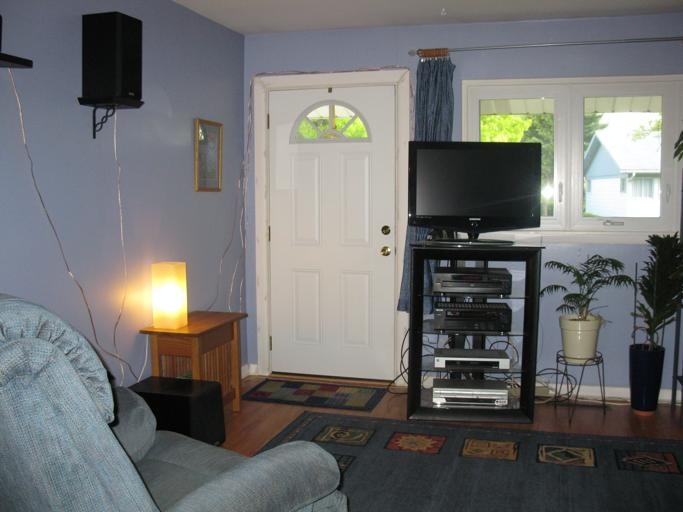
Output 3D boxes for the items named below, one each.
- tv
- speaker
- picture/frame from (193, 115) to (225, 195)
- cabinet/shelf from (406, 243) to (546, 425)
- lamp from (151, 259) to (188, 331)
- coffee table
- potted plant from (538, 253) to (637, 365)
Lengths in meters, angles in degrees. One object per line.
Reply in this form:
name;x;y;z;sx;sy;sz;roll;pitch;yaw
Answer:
tv;0.873;-0.431;3.719;0.900;0.643;0.086;0;4;-2
speaker;-1.277;-1.070;3.100;0.365;0.467;0.379;-3;13;-29
picture/frame;-0.978;-0.729;4.109;0.021;0.524;0.452;-7;15;-39
cabinet/shelf;0.941;0.511;3.937;0.835;1.146;0.805;1;2;14
lamp;-1.080;0.221;3.523;0.241;0.409;0.242;4;15;5
coffee table;-1.066;0.755;3.812;0.769;0.721;0.436;1;14;23
potted plant;1.648;0.365;3.878;0.531;0.706;0.600;-4;2;-7
